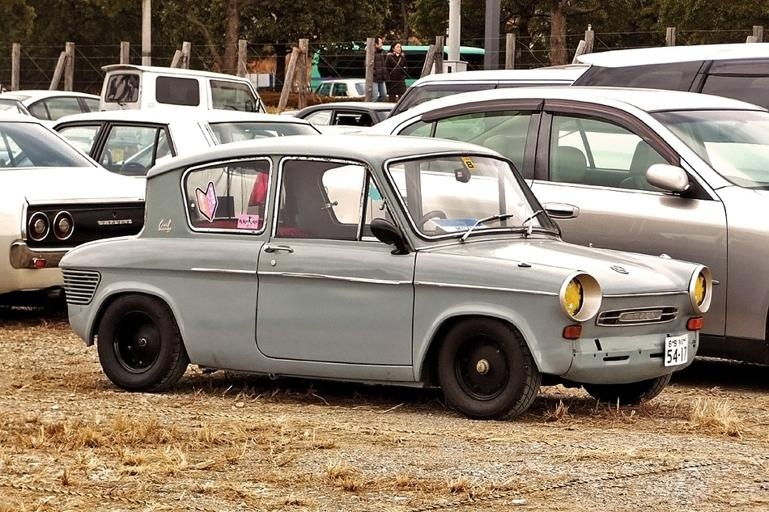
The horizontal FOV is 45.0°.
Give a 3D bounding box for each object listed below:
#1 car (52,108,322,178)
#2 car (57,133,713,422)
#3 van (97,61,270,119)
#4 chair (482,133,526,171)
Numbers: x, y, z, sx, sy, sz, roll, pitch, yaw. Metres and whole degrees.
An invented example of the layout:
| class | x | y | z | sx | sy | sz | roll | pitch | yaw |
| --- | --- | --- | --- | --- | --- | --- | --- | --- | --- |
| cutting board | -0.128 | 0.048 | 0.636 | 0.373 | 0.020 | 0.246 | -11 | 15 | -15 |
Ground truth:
| class | x | y | z | sx | sy | sz | roll | pitch | yaw |
| --- | --- | --- | --- | --- | --- | --- | --- | --- | --- |
| car | -2.873 | -1.572 | 12.021 | 2.799 | 0.888 | 1.534 | -1 | 10 | 13 |
| car | 0.113 | 0.327 | 7.965 | 4.207 | 1.844 | 2.420 | 1 | 3 | 22 |
| van | -4.450 | -3.696 | 21.537 | 2.821 | 1.746 | 1.677 | -4 | 35 | -32 |
| chair | 1.213 | -0.944 | 9.152 | 0.343 | 0.376 | 0.447 | -9 | 47 | 9 |
